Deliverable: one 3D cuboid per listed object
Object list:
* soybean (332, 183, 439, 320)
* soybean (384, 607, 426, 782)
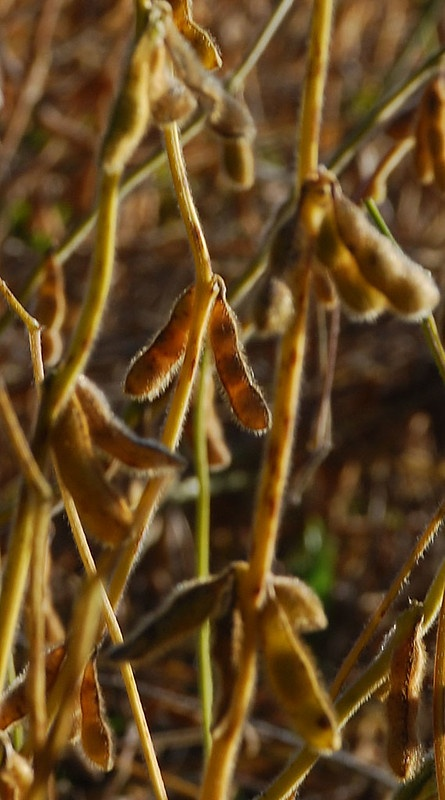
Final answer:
[{"bbox_3d":[0.064,-0.057,0.361,0.023,0.083,0.025,-38,-20,22],"label":"soybean"},{"bbox_3d":[0.091,0.147,0.390,0.023,0.092,0.019,-4,5,-19],"label":"soybean"}]
